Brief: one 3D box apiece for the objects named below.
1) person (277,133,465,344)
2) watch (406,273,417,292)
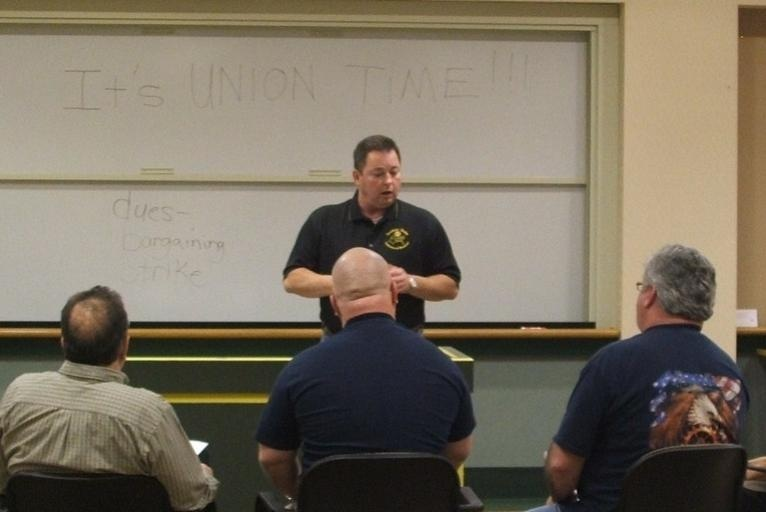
[{"bbox_3d":[-0.080,0.253,7.484,1.053,1.909,0.904,0,11,-9],"label":"person"},{"bbox_3d":[0.169,0.148,7.215,0.055,0.091,0.075,-4,-1,-27],"label":"watch"}]
